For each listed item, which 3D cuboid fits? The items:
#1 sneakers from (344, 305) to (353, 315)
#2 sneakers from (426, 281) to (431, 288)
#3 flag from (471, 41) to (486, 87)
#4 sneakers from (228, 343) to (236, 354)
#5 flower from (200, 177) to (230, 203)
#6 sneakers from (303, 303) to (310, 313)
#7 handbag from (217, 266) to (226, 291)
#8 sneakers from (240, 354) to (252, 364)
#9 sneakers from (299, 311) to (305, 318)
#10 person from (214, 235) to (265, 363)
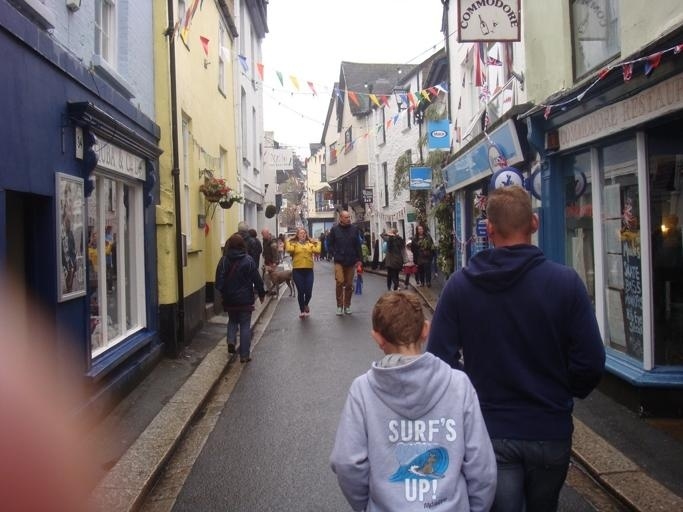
[{"bbox_3d":[0.143,1.243,13.043,0.146,0.178,0.371,0,-4,-2],"label":"sneakers"},{"bbox_3d":[2.661,0.904,17.414,0.072,0.147,0.142,6,36,16],"label":"sneakers"},{"bbox_3d":[2.921,-4.122,12.310,0.198,0.122,1.232,0,-29,15],"label":"flag"},{"bbox_3d":[-1.717,1.471,9.040,0.082,0.171,0.155,1,4,5],"label":"sneakers"},{"bbox_3d":[-2.720,-1.399,12.089,0.714,0.518,0.627,-4,6,-30],"label":"flower"},{"bbox_3d":[-0.811,1.214,12.870,0.070,0.189,0.233,-8,-18,29],"label":"sneakers"},{"bbox_3d":[-1.825,0.367,8.721,0.082,0.267,0.177,10,-24,-14],"label":"handbag"},{"bbox_3d":[-1.467,1.582,8.768,0.062,0.094,0.194,2,9,11],"label":"sneakers"},{"bbox_3d":[-0.874,1.313,12.665,0.106,0.131,0.270,-1,-5,-3],"label":"sneakers"},{"bbox_3d":[-1.560,0.643,8.841,0.724,1.927,0.481,-1,4,-8],"label":"person"}]
